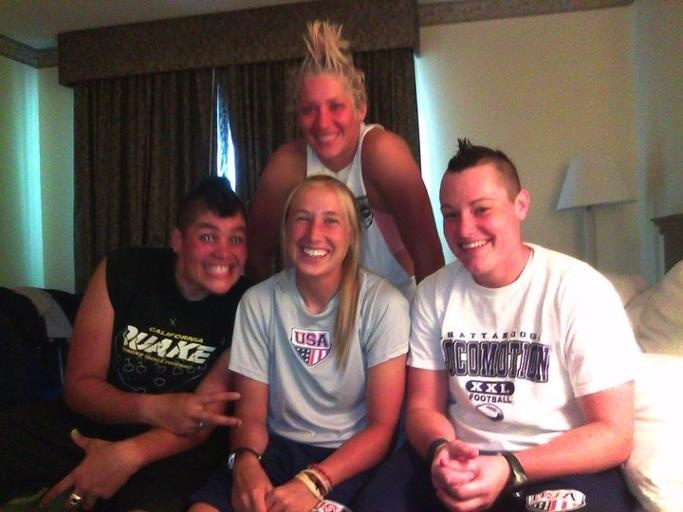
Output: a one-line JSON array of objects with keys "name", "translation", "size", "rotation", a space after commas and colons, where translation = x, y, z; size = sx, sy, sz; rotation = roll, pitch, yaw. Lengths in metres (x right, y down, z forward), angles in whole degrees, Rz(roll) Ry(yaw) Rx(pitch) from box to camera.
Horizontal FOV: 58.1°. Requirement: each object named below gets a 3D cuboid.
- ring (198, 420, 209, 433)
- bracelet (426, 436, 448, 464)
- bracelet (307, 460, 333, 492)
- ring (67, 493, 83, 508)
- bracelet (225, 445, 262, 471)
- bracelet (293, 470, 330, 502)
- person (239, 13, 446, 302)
[{"name": "ring", "translation": [-0.513, 0.626, 2.264], "size": [0.040, 0.047, 0.030], "rotation": [-5, -4, 15]}, {"name": "bracelet", "translation": [0.324, 0.645, 2.057], "size": [0.054, 0.077, 0.074], "rotation": [-8, -37, 19]}, {"name": "bracelet", "translation": [-0.064, 0.736, 2.091], "size": [0.042, 0.087, 0.078], "rotation": [-40, -15, -8]}, {"name": "ring", "translation": [-0.944, 0.866, 2.173], "size": [0.042, 0.061, 0.022], "rotation": [16, 2, 6]}, {"name": "bracelet", "translation": [-0.349, 0.704, 2.151], "size": [0.085, 0.091, 0.032], "rotation": [7, 14, -1]}, {"name": "bracelet", "translation": [-0.102, 0.753, 2.079], "size": [0.101, 0.054, 0.088], "rotation": [26, -17, 44]}, {"name": "person", "translation": [-0.070, -0.335, 2.721], "size": [0.859, 1.358, 0.823], "rotation": [9, 42, 20]}]
